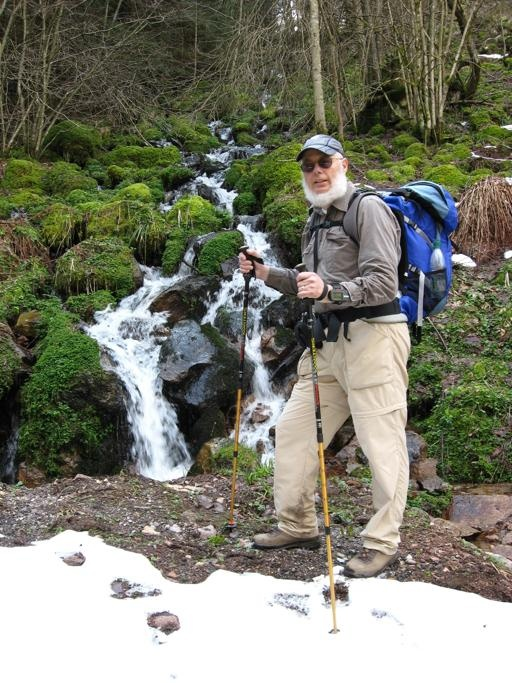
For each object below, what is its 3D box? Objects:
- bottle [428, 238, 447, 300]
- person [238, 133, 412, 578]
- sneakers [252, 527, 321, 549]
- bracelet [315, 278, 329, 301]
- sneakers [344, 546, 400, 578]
[{"bbox_3d":[1.074,-0.428,4.003,0.095,0.347,0.108,1,8,-11],"label":"bottle"},{"bbox_3d":[0.453,0.030,4.085,0.747,2.580,1.054,-3,10,-35],"label":"person"},{"bbox_3d":[0.179,1.247,4.302,0.453,0.172,0.140,5,-4,-4],"label":"sneakers"},{"bbox_3d":[0.345,-0.265,3.631,0.024,0.077,0.084,18,24,14],"label":"bracelet"},{"bbox_3d":[0.680,1.270,3.898,0.329,0.114,0.119,6,2,-38],"label":"sneakers"}]
